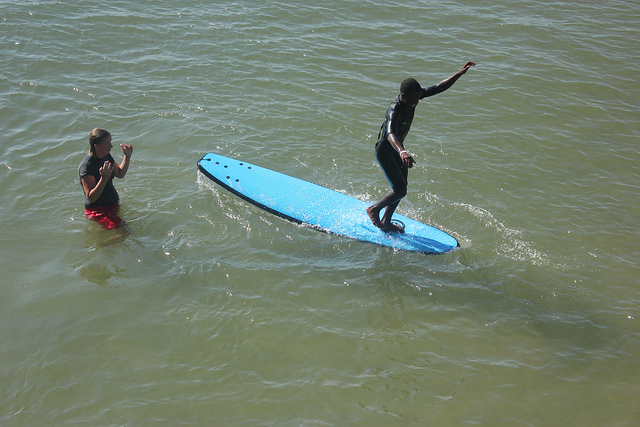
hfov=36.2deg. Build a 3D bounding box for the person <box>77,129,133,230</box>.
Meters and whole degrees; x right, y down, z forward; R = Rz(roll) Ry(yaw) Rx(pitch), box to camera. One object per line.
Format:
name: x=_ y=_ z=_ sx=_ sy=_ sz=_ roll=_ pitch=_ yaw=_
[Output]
person: x=-5.077 y=-0.686 z=23.054 sx=1.130 sy=2.708 sz=1.164 roll=2 pitch=42 yaw=3
